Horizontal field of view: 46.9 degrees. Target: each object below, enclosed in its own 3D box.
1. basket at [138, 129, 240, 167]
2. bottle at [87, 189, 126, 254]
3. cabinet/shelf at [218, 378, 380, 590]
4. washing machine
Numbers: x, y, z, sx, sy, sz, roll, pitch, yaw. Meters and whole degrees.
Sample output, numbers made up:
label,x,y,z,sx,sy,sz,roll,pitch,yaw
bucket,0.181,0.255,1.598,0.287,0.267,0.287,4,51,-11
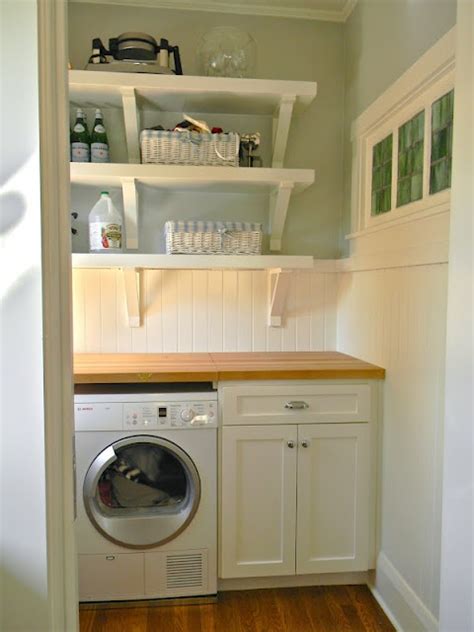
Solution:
label,x,y,z,sx,sy,sz,roll,pitch,yaw
basket,-0.173,-0.642,2.109,0.235,0.105,0.194,-1,11,-12
bottle,-0.535,-0.368,2.232,0.128,0.278,0.137,-3,-6,0
cabinet/shelf,0.205,0.534,2.163,0.564,0.901,0.460,0,21,2
washing machine,-0.335,0.551,2.065,0.507,0.858,0.532,1,19,-4
